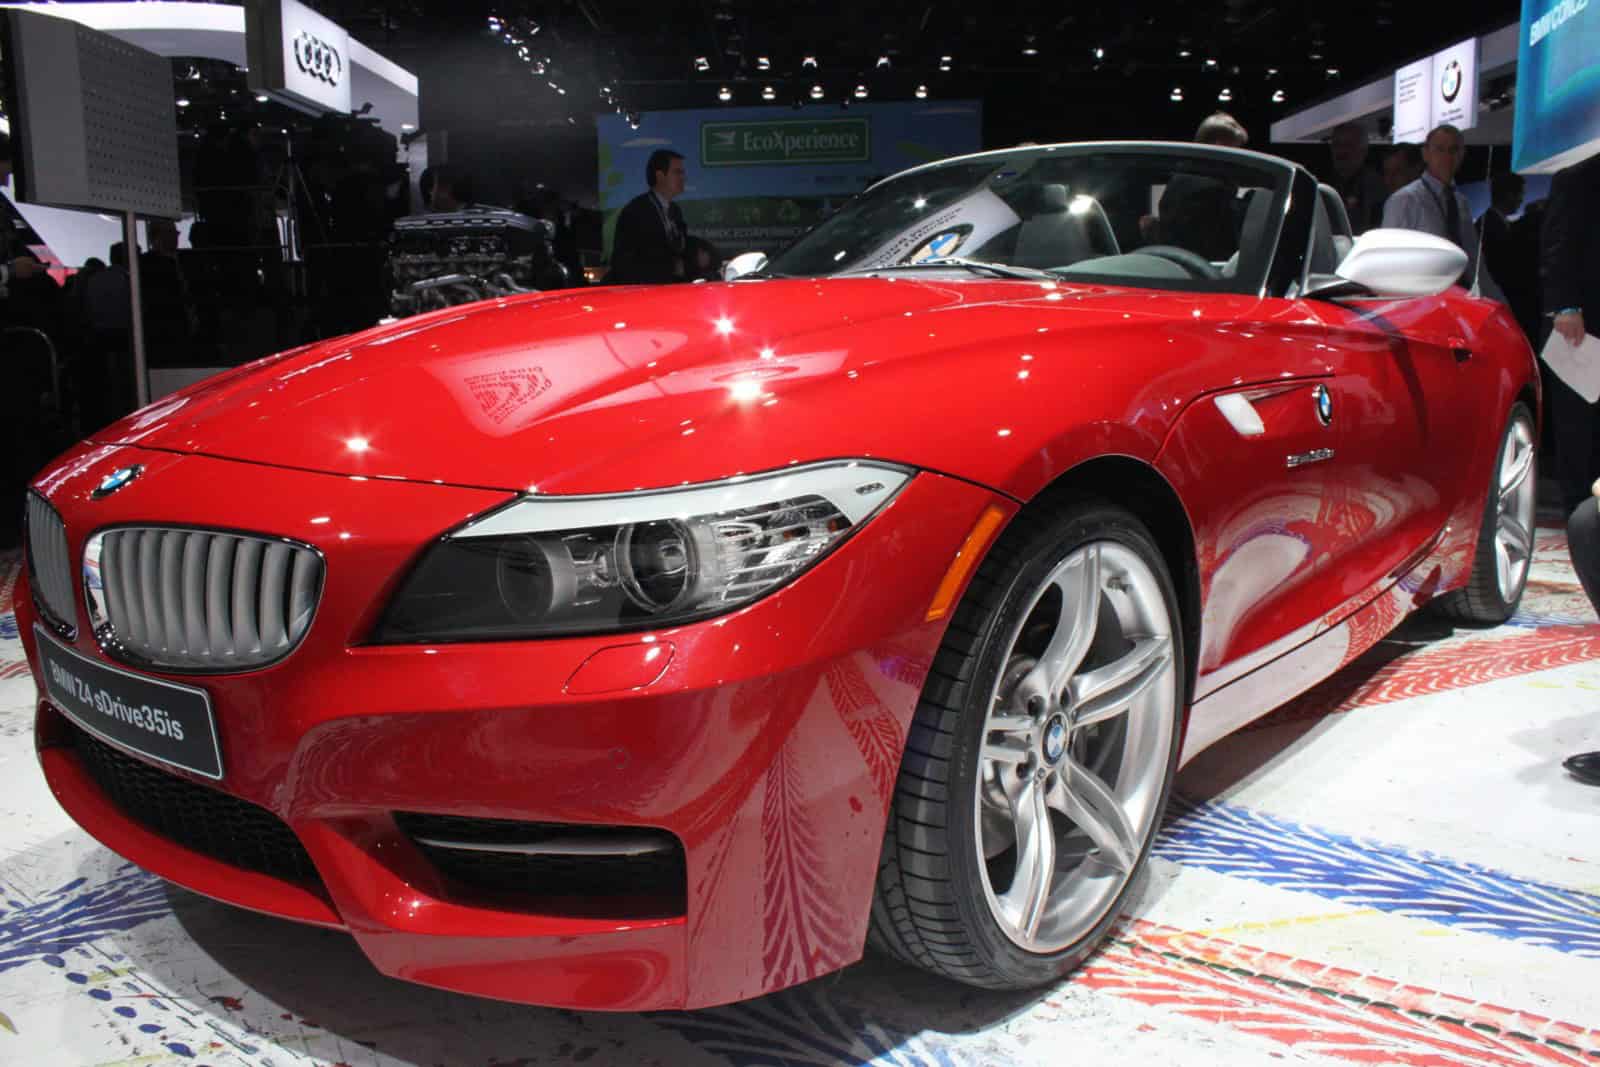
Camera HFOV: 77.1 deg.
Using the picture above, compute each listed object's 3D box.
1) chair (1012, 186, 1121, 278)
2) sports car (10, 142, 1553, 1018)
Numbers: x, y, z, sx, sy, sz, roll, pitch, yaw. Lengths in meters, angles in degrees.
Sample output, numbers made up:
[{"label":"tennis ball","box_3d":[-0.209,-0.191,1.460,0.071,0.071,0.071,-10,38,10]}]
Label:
[{"label":"chair","box_3d":[0.751,-0.839,2.945,0.303,0.298,0.323,8,10,33]},{"label":"sports car","box_3d":[0.664,0.014,2.603,1.821,0.941,3.597,6,10,41]}]
